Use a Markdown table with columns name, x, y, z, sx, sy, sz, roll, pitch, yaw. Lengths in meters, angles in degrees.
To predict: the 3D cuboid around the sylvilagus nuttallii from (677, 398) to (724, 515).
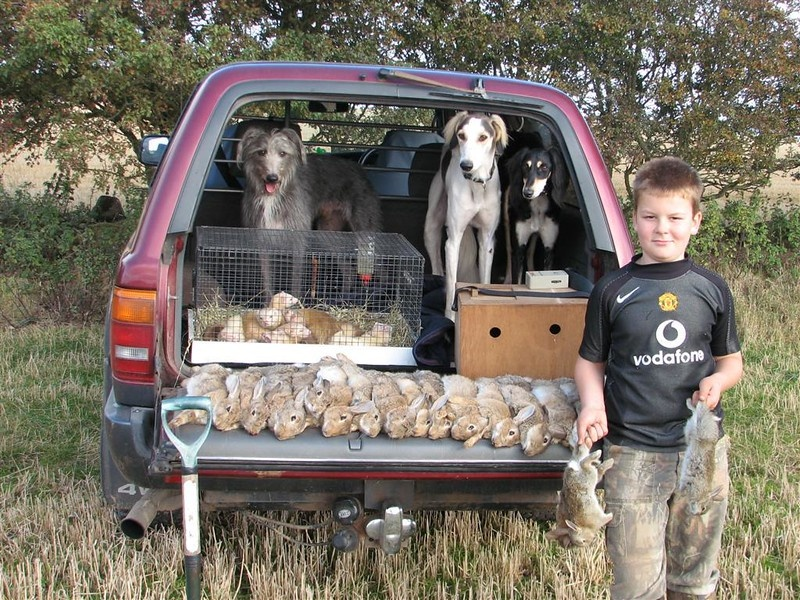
| name | x | y | z | sx | sy | sz | roll | pitch | yaw |
| --- | --- | --- | --- | --- | --- | --- | --- | --- | --- |
| sylvilagus nuttallii | 1.418 | 0.759 | 3.556 | 0.185 | 0.538 | 0.244 | 2 | 1 | 24 |

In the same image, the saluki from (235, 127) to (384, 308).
| name | x | y | z | sx | sy | sz | roll | pitch | yaw |
| --- | --- | --- | --- | --- | --- | --- | --- | --- | --- |
| saluki | -0.743 | -0.830 | 5.956 | 0.973 | 1.615 | 0.972 | 3 | 16 | -7 |

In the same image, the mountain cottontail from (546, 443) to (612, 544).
| name | x | y | z | sx | sy | sz | roll | pitch | yaw |
| --- | --- | --- | --- | --- | --- | --- | --- | --- | --- |
| mountain cottontail | 0.857 | 0.911 | 3.585 | 0.134 | 0.460 | 0.317 | 26 | 35 | 31 |

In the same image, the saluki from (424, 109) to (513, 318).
| name | x | y | z | sx | sy | sz | roll | pitch | yaw |
| --- | --- | --- | --- | --- | --- | --- | --- | --- | --- |
| saluki | 0.537 | -0.784 | 6.410 | 0.595 | 1.613 | 2.141 | 1 | 14 | -3 |
